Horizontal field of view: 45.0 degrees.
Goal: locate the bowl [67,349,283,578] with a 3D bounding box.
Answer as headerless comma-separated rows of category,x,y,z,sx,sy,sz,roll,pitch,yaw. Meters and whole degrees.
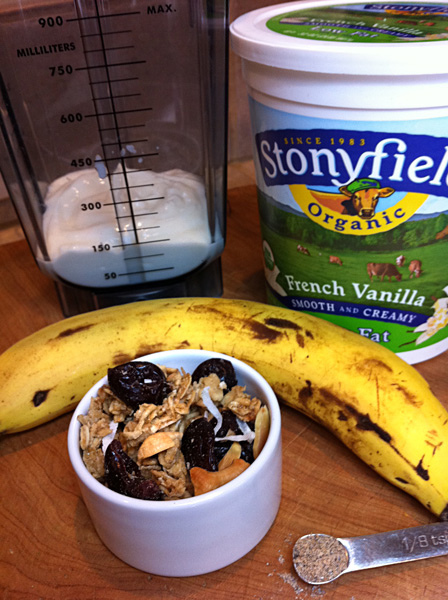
bowl,-0.030,0.109,0.401,0.148,0.085,0.143,-5,37,4

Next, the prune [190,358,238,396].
prune,-0.012,0.057,0.433,0.036,0.018,0.031,-7,25,19

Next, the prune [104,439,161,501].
prune,-0.059,0.115,0.352,0.028,0.018,0.052,-18,37,-34

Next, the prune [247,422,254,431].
prune,0.019,0.093,0.401,0.003,0.005,0.004,-23,52,44

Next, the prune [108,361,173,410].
prune,-0.062,0.064,0.409,0.041,0.032,0.028,-22,41,-22
